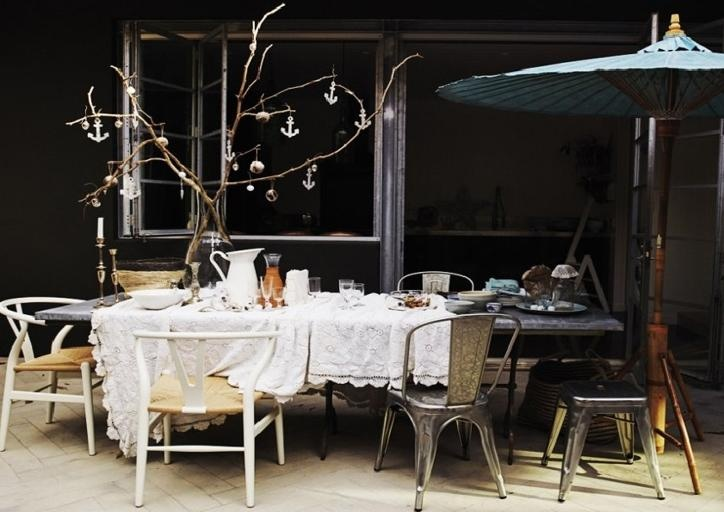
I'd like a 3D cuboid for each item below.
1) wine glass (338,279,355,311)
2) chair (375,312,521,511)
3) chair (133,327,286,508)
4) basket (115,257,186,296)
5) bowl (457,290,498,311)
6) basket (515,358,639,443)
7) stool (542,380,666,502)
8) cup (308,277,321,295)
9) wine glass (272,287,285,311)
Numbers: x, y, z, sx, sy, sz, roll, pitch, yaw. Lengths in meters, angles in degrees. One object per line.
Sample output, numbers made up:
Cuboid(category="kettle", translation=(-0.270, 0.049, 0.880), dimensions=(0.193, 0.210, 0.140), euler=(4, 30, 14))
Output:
Cuboid(category="wine glass", translation=(-0.069, 0.254, 4.664), dimensions=(0.145, 0.221, 0.156), euler=(0, 0, -42))
Cuboid(category="chair", translation=(0.526, 0.888, 4.233), dimensions=(0.893, 1.148, 0.581), euler=(1, 6, 1))
Cuboid(category="chair", translation=(-0.935, 0.924, 4.278), dimensions=(0.912, 1.041, 0.674), euler=(0, 5, -5))
Cuboid(category="basket", translation=(-1.494, 0.116, 4.945), dimensions=(0.431, 0.245, 0.543), euler=(2, 11, 13))
Cuboid(category="bowl", translation=(0.762, 0.277, 4.602), dimensions=(0.158, 0.065, 0.157), euler=(0, 4, 0))
Cuboid(category="basket", translation=(1.430, 0.971, 4.623), dimensions=(0.543, 0.254, 0.696), euler=(1, 6, 15))
Cuboid(category="stool", translation=(1.511, 1.120, 4.389), dimensions=(0.717, 0.585, 0.689), euler=(1, 7, 13))
Cuboid(category="cup", translation=(-0.308, 0.201, 4.811), dimensions=(0.097, 0.146, 0.101), euler=(2, 3, 0))
Cuboid(category="wine glass", translation=(-0.546, 0.269, 4.535), dimensions=(0.116, 0.161, 0.109), euler=(0, 0, 4))
